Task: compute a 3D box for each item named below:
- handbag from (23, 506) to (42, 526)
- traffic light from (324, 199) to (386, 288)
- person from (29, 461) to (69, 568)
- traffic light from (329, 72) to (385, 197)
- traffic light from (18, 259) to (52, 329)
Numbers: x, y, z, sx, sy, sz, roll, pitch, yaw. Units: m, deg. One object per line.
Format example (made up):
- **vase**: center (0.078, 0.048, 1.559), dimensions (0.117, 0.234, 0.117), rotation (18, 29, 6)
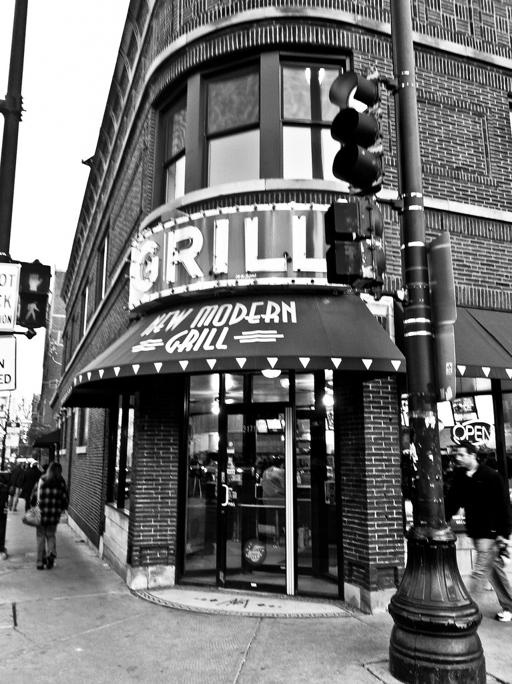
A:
- **handbag**: center (-3.697, 2.888, 9.005), dimensions (0.199, 0.324, 0.683), rotation (7, -15, -34)
- **traffic light**: center (0.698, -0.763, 3.955), dimensions (0.492, 0.769, 0.317), rotation (8, -12, -38)
- **person**: center (-3.409, 2.893, 9.069), dimensions (0.542, 1.695, 0.537), rotation (1, -9, -6)
- **traffic light**: center (0.729, -1.561, 4.069), dimensions (0.370, 1.006, 0.342), rotation (-7, -11, 36)
- **traffic light**: center (-2.472, -0.516, 6.121), dimensions (0.327, 0.855, 0.454), rotation (5, -11, -26)
